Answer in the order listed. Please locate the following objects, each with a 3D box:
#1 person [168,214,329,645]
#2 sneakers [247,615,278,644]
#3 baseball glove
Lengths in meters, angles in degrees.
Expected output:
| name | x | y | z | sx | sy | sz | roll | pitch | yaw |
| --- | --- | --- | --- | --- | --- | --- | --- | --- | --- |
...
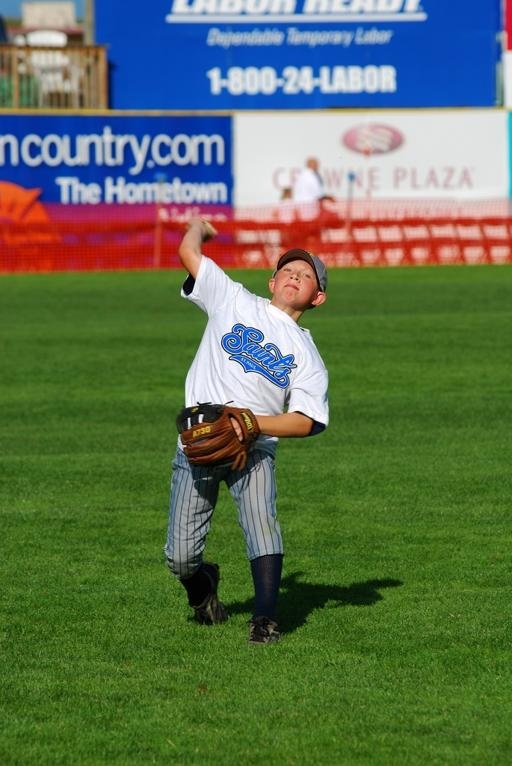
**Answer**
| name | x | y | z | sx | sy | sz | roll | pitch | yaw |
| --- | --- | --- | --- | --- | --- | --- | --- | --- | --- |
| person | -0.048 | 0.238 | 5.992 | 0.717 | 1.785 | 0.833 | 0 | 14 | 2 |
| sneakers | 0.031 | 1.073 | 5.813 | 0.135 | 0.123 | 0.080 | -1 | 13 | -3 |
| baseball glove | -0.171 | 0.219 | 5.633 | 0.251 | 0.327 | 0.158 | -27 | -21 | 5 |
